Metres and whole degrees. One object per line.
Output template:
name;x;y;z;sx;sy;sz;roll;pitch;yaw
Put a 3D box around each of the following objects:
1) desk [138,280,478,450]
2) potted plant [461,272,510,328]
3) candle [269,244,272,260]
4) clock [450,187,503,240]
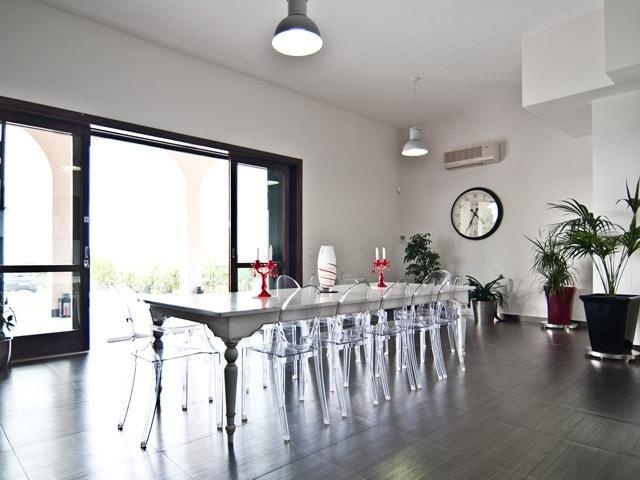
desk;-0.053;0.903;4.443;2.869;1.110;1.227;-4;7;-37
potted plant;2.833;1.076;8.149;0.838;0.945;1.002;0;0;-11
candle;-0.787;0.183;7.374;0.073;0.212;0.273;-1;5;-8
clock;2.849;-0.489;8.366;0.140;0.970;0.863;2;0;-43
